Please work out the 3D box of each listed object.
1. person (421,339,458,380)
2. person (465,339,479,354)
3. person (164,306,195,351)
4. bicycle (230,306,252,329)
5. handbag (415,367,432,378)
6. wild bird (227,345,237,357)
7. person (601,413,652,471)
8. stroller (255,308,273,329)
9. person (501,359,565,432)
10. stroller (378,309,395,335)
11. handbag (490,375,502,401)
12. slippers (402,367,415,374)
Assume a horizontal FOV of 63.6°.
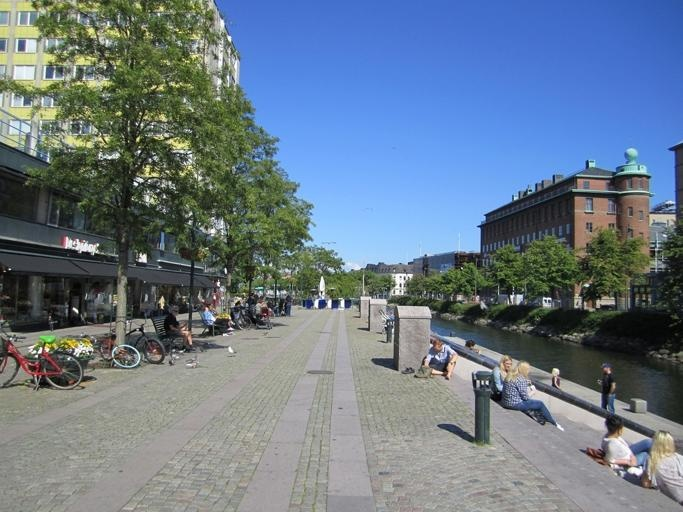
[{"bbox_3d":[2.807,2.954,15.839,0.933,1.093,0.825,-1,-6,9],"label":"person"},{"bbox_3d":[5.578,3.887,23.689,0.699,0.380,0.954,10,-8,11],"label":"person"},{"bbox_3d":[-5.763,2.587,19.526,0.937,1.483,2.501,1,-6,-14],"label":"person"},{"bbox_3d":[-5.514,3.376,30.106,0.993,1.134,1.475,2,-6,-17],"label":"bicycle"},{"bbox_3d":[2.323,3.300,15.661,0.442,0.285,0.293,-1,-6,6],"label":"handbag"},{"bbox_3d":[-3.886,3.362,19.578,0.249,0.344,0.815,-1,1,-11],"label":"wild bird"},{"bbox_3d":[5.571,3.695,10.843,0.971,1.246,0.586,-15,26,-11],"label":"person"},{"bbox_3d":[-4.240,3.506,30.242,0.735,0.804,1.225,-1,4,-9],"label":"stroller"},{"bbox_3d":[4.081,3.025,12.215,0.573,1.236,1.180,3,-6,-26],"label":"person"},{"bbox_3d":[2.430,3.631,30.464,1.031,1.258,0.526,1,2,15],"label":"stroller"},{"bbox_3d":[3.655,3.057,13.003,0.268,0.675,0.508,-1,-6,13],"label":"handbag"},{"bbox_3d":[1.981,3.382,16.286,0.337,0.146,0.147,-2,-7,16],"label":"slippers"}]
